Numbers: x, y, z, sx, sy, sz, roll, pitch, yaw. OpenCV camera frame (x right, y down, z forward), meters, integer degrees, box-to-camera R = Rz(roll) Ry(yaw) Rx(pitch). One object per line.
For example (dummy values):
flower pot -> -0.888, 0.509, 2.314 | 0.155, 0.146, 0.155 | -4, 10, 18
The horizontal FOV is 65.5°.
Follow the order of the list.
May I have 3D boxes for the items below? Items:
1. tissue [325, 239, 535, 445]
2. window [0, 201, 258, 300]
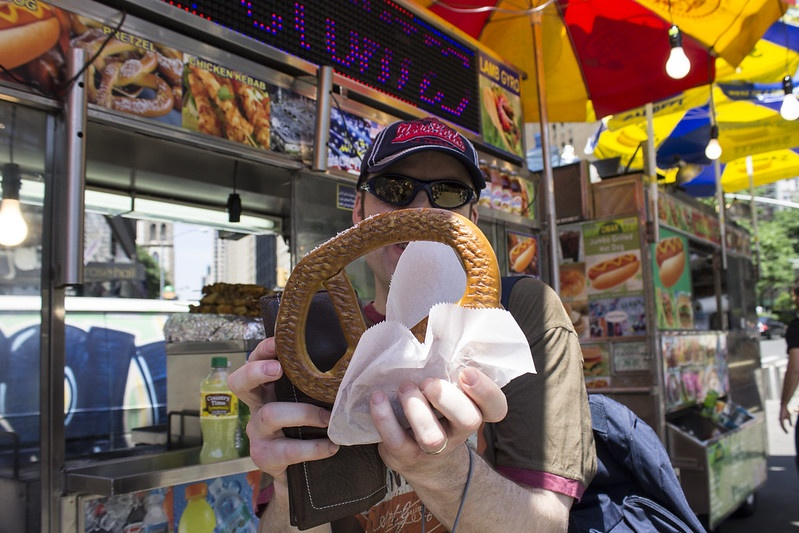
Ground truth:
tissue -> 0.071, 0.292, 2.292 | 0.640, 0.859, 0.312 | 8, -12, 9
window -> -1.808, -0.051, 4.907 | 0.339, 0.641, 1.486 | 6, -1, 39
